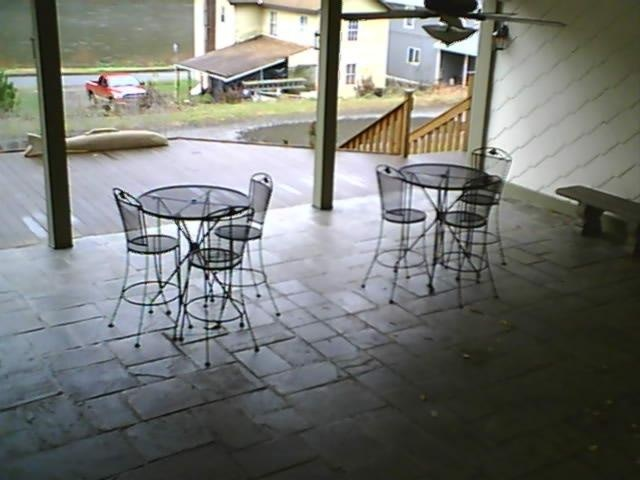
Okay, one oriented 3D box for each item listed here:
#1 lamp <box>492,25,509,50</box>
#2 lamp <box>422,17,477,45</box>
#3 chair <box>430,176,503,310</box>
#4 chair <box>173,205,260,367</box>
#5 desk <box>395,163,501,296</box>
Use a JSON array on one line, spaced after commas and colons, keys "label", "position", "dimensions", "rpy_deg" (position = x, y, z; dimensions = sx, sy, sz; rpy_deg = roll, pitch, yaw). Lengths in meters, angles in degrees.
[{"label": "lamp", "position": [2.593, -2.883, 7.975], "dimensions": [0.209, 0.335, 0.137], "rpy_deg": [11, 24, 23]}, {"label": "lamp", "position": [1.031, -1.665, 4.499], "dimensions": [0.406, 0.197, 0.348], "rpy_deg": [-18, 27, -41]}, {"label": "chair", "position": [1.551, 0.056, 5.943], "dimensions": [0.793, 1.482, 0.777], "rpy_deg": [-4, 33, -4]}, {"label": "chair", "position": [-0.911, 0.432, 4.948], "dimensions": [0.739, 1.347, 0.710], "rpy_deg": [-6, 36, -21]}, {"label": "desk", "position": [1.444, -0.187, 6.103], "dimensions": [0.886, 0.934, 0.876], "rpy_deg": [-3, 23, 26]}]
